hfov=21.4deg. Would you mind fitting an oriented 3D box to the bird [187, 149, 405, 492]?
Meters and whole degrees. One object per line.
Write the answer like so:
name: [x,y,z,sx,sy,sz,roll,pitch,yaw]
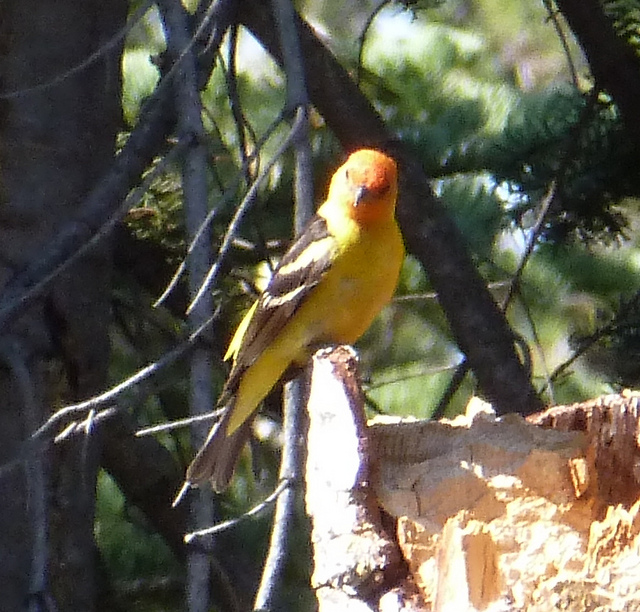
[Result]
bird: [-0.083,0.013,4.560,0.268,0.490,0.873,20,-58,-36]
